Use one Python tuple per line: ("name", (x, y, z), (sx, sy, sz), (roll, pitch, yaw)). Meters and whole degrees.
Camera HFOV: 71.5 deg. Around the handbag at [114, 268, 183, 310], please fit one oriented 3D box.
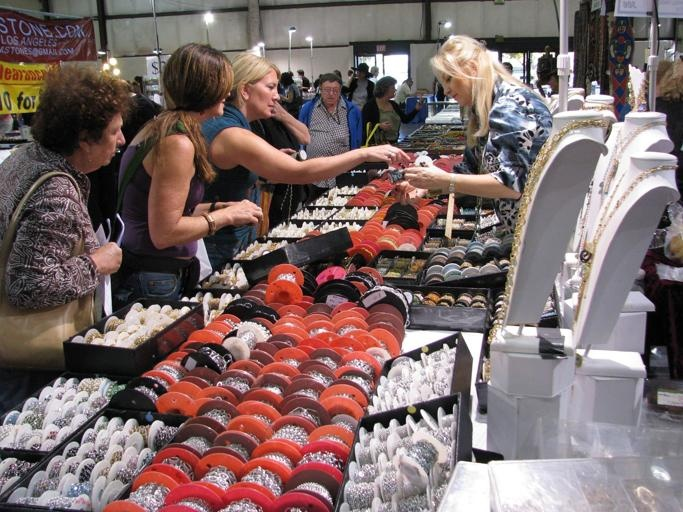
("handbag", (-1.001, 0.123, 2.437), (0.340, 0.203, 0.322), (-6, 6, -11))
